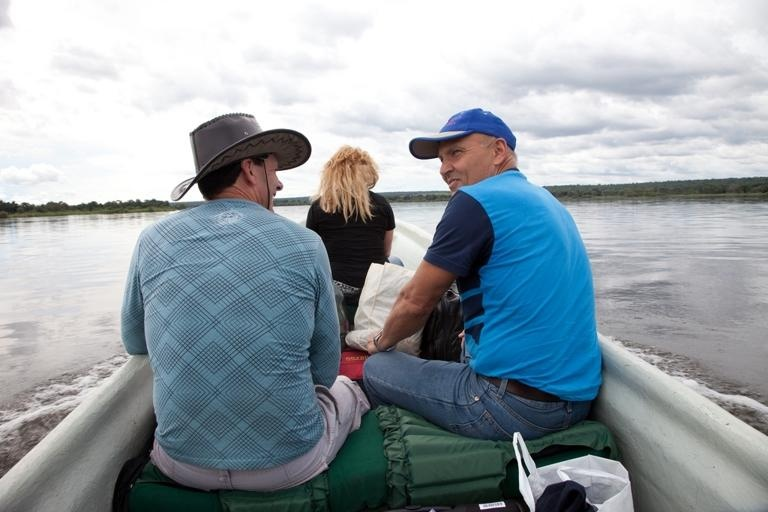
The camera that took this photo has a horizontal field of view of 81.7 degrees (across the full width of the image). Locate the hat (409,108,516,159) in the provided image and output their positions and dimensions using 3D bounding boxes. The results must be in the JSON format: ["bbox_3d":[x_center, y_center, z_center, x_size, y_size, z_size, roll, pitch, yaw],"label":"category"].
[{"bbox_3d":[0.532,-0.820,2.864,0.608,0.246,0.349,2,-1,7],"label":"hat"}]

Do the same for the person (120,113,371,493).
[{"bbox_3d":[-0.664,0.424,2.188,1.096,1.401,0.524,-5,11,-17],"label":"person"}]

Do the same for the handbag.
[{"bbox_3d":[-0.065,0.372,3.272,0.806,0.703,0.356,4,-15,11],"label":"handbag"}]

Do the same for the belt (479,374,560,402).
[{"bbox_3d":[0.742,0.730,2.416,0.237,0.053,0.168,12,-9,12],"label":"belt"}]
